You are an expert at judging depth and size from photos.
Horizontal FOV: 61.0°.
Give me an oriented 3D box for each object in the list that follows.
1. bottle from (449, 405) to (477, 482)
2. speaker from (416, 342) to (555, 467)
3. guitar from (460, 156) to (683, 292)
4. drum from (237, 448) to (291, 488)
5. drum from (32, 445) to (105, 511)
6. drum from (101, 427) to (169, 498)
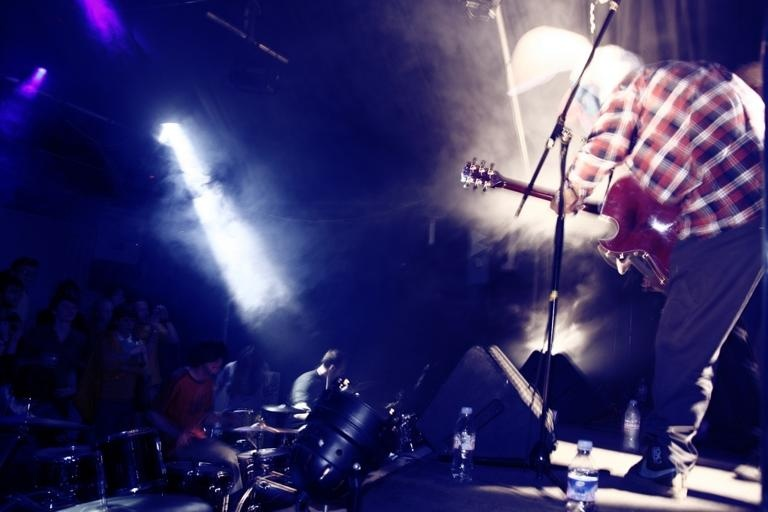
[{"bbox_3d":[0.716,1.745,5.935,0.236,0.668,0.250,2,-32,1],"label":"bottle"},{"bbox_3d":[0.911,1.411,6.103,1.035,1.032,1.054,-3,-18,12],"label":"speaker"},{"bbox_3d":[1.706,-0.419,6.224,2.004,0.968,0.315,18,4,14],"label":"guitar"},{"bbox_3d":[-1.226,2.107,6.575,0.497,0.383,0.307,9,-32,-11],"label":"drum"},{"bbox_3d":[-2.878,2.060,5.991,0.495,0.582,0.544,-6,-9,40],"label":"drum"},{"bbox_3d":[-2.329,1.927,6.181,0.549,0.603,0.577,-28,-19,37],"label":"drum"}]
